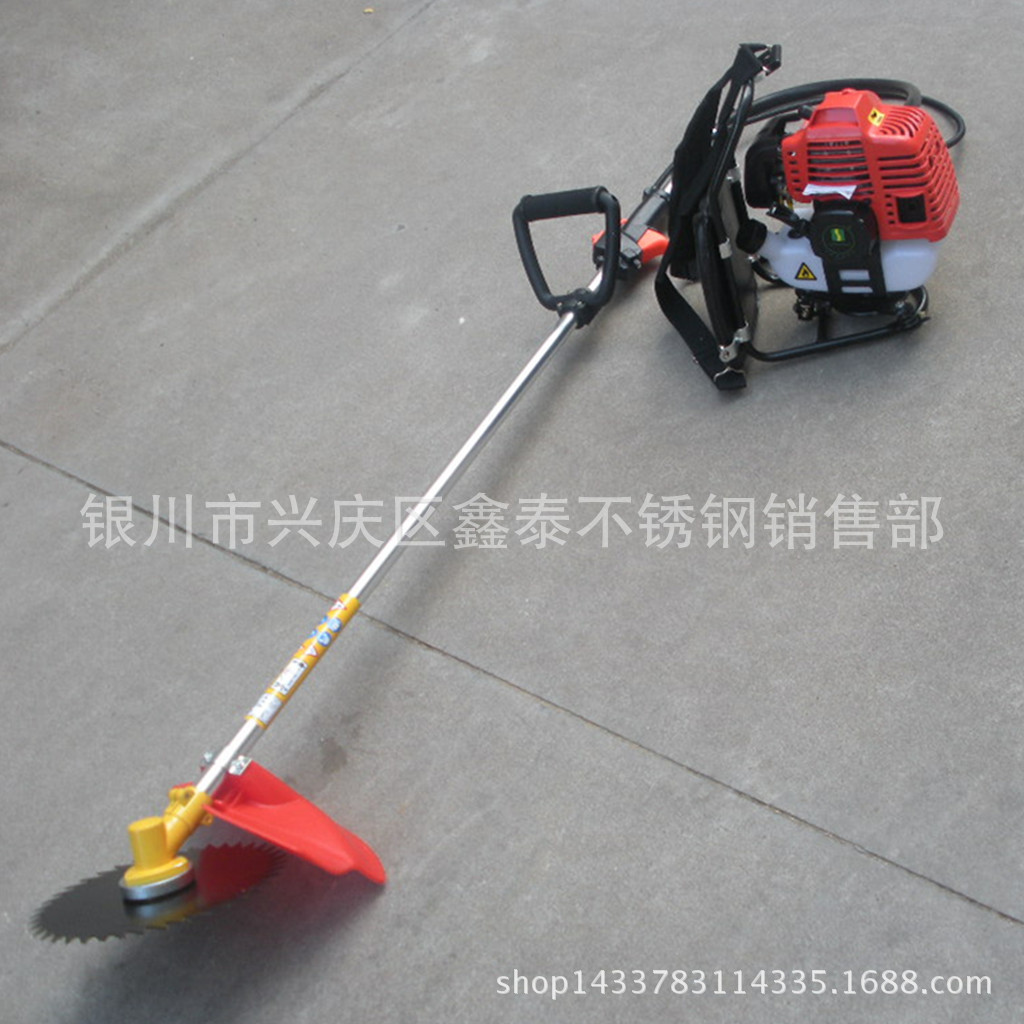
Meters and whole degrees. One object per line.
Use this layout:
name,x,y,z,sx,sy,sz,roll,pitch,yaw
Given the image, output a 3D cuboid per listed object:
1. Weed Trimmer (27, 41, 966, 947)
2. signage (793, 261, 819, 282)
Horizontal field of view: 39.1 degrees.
Weed Trimmer,0.067,-0.240,2.296,2.086,0.759,0.656,-42,50,-15
signage,0.489,-0.395,2.389,0.060,0.063,0.004,2,63,12
